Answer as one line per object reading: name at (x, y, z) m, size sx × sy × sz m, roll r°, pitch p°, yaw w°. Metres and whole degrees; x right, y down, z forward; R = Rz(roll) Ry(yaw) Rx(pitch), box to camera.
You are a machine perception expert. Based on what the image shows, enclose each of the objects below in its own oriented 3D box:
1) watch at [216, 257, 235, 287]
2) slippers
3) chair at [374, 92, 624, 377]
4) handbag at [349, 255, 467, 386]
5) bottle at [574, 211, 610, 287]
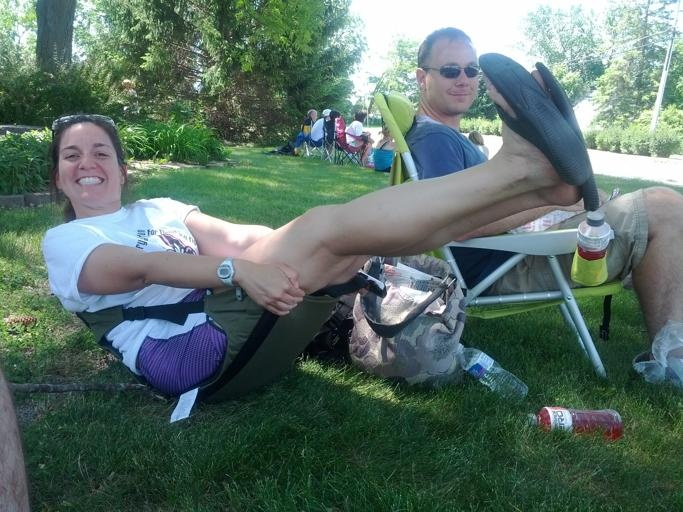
watch at (-0.503, 0.064, 2.445) m, size 0.069 × 0.119 × 0.115 m, roll -7°, pitch -10°, yaw -5°
slippers at (0.733, -0.534, 2.286) m, size 0.163 × 0.576 × 0.378 m, roll -26°, pitch 10°, yaw 38°
chair at (0.990, -0.066, 3.360) m, size 1.223 × 1.277 × 0.820 m, roll 0°, pitch 3°, yaw 18°
handbag at (0.387, 0.401, 3.084) m, size 0.674 × 0.668 × 0.567 m, roll -12°, pitch 29°, yaw -22°
bottle at (1.211, -0.035, 2.689) m, size 0.183 × 0.338 × 0.151 m, roll 12°, pitch 32°, yaw 33°
